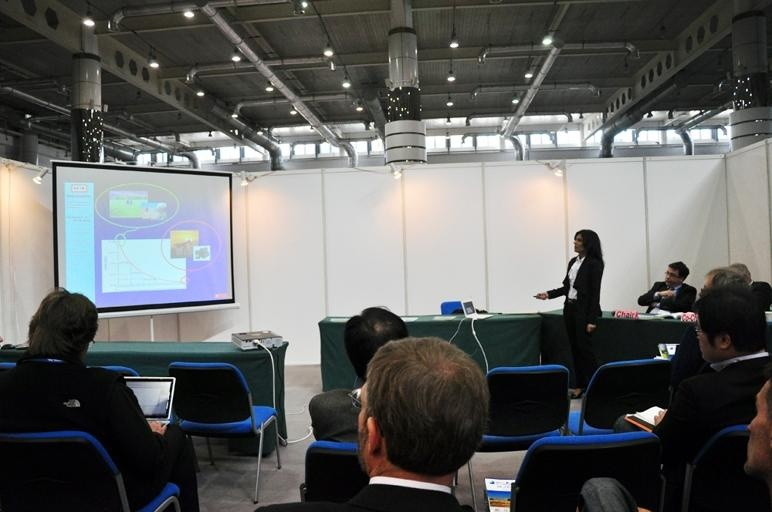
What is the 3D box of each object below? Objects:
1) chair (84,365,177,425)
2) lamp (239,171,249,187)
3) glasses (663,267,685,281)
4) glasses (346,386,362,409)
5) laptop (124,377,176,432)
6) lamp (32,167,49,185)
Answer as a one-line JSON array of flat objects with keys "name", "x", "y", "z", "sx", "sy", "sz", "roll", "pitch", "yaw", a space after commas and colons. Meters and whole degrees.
[{"name": "chair", "x": -2.095, "y": 1.197, "z": 5.353, "sx": 0.778, "sy": 0.598, "sz": 0.658, "roll": 1, "pitch": -12, "yaw": -4}, {"name": "lamp", "x": -2.184, "y": -1.192, "z": 9.708, "sx": 0.168, "sy": 0.187, "sz": 0.173, "roll": 3, "pitch": 4, "yaw": 33}, {"name": "glasses", "x": 3.618, "y": 0.250, "z": 7.889, "sx": 0.202, "sy": 0.193, "sz": 0.160, "roll": 20, "pitch": 6, "yaw": 15}, {"name": "glasses", "x": -0.219, "y": 1.048, "z": 4.580, "sx": 0.139, "sy": 0.199, "sz": 0.069, "roll": -1, "pitch": -11, "yaw": 35}, {"name": "laptop", "x": -1.968, "y": 1.238, "z": 5.307, "sx": 0.454, "sy": 0.357, "sz": 0.388, "roll": 1, "pitch": -10, "yaw": -5}, {"name": "lamp", "x": -4.603, "y": -1.074, "z": 8.390, "sx": 0.180, "sy": 0.226, "sz": 0.084, "roll": -1, "pitch": -1, "yaw": -31}]
